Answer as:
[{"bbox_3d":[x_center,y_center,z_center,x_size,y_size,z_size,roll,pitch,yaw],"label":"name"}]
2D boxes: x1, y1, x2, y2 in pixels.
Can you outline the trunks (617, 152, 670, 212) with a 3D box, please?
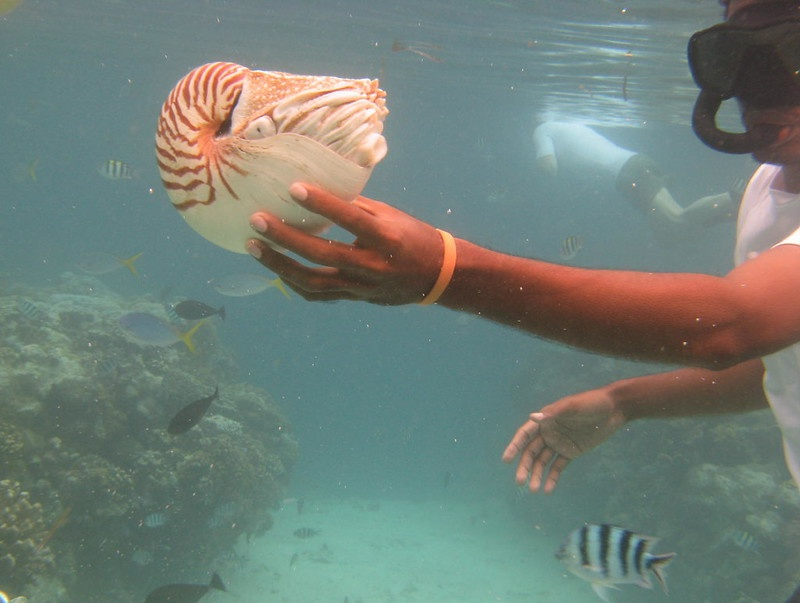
[{"bbox_3d":[5.442,-2.605,18.399,1.257,1.306,1.269,8,11,43],"label":"trunks"}]
